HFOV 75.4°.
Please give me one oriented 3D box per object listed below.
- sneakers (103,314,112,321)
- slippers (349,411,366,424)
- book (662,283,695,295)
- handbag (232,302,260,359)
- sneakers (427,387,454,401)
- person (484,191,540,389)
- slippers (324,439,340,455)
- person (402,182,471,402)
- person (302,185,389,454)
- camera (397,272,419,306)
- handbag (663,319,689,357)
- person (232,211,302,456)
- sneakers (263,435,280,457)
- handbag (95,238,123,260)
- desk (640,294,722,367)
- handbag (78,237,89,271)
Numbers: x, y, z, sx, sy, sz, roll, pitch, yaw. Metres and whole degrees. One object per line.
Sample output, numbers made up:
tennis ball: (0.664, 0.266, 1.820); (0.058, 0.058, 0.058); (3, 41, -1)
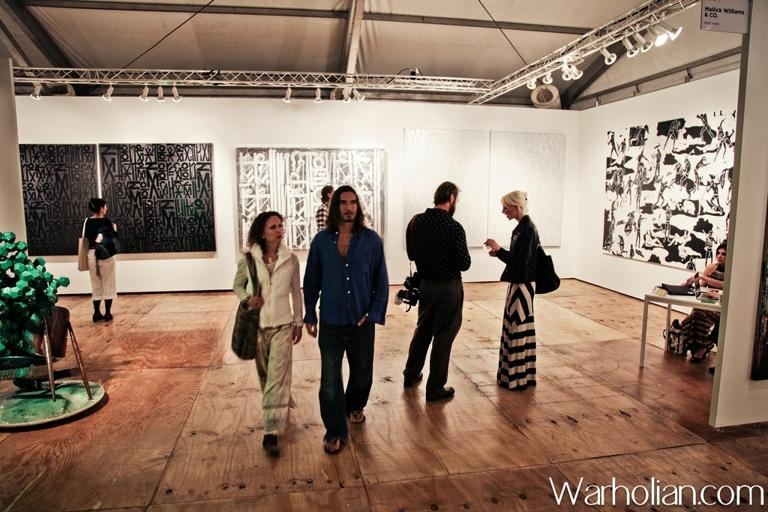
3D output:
sneakers: (-4.592, 1.016, 8.238); (0.086, 0.131, 0.139); (2, -20, -1)
slippers: (-0.288, 1.722, 5.298); (0.134, 0.068, 0.140); (0, -6, -6)
book: (3.841, 0.441, 6.439); (0.225, 0.072, 0.213); (0, 5, -9)
handbag: (-1.380, 0.737, 4.888); (0.250, 0.584, 0.186); (4, 10, 24)
sneakers: (0.655, 1.597, 5.799); (0.362, 0.162, 0.128); (-4, 6, -17)
person: (1.563, 0.410, 5.908); (0.656, 2.345, 0.400); (-1, 9, -1)
slippers: (-0.510, 1.880, 4.933); (0.175, 0.128, 0.089); (-2, 9, -9)
person: (0.593, 0.412, 5.675); (0.736, 2.473, 0.475); (2, 10, 17)
person: (-0.379, 0.606, 5.017); (0.828, 2.620, 0.548); (-3, 10, -16)
camera: (0.225, 0.455, 5.895); (0.212, 0.301, 0.121); (-36, 10, -26)
handbag: (4.054, 1.146, 6.868); (0.327, 0.450, 0.456); (1, 7, 13)
person: (-1.171, 0.746, 5.001); (0.690, 2.363, 0.651); (-2, 9, -9)
sneakers: (-1.130, 1.861, 4.949); (0.167, 0.179, 0.219); (-3, 9, -14)
handbag: (-4.694, -0.146, 8.416); (0.212, 0.347, 0.368); (13, -1, 42)
desk: (3.818, 0.707, 6.657); (0.989, 1.178, 1.309); (1, 4, 20)
handbag: (-4.911, -0.040, 8.093); (0.152, 0.517, 0.164); (-5, 10, -27)
